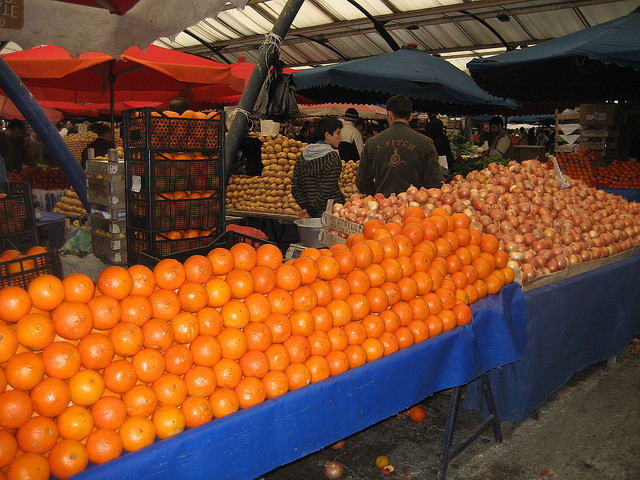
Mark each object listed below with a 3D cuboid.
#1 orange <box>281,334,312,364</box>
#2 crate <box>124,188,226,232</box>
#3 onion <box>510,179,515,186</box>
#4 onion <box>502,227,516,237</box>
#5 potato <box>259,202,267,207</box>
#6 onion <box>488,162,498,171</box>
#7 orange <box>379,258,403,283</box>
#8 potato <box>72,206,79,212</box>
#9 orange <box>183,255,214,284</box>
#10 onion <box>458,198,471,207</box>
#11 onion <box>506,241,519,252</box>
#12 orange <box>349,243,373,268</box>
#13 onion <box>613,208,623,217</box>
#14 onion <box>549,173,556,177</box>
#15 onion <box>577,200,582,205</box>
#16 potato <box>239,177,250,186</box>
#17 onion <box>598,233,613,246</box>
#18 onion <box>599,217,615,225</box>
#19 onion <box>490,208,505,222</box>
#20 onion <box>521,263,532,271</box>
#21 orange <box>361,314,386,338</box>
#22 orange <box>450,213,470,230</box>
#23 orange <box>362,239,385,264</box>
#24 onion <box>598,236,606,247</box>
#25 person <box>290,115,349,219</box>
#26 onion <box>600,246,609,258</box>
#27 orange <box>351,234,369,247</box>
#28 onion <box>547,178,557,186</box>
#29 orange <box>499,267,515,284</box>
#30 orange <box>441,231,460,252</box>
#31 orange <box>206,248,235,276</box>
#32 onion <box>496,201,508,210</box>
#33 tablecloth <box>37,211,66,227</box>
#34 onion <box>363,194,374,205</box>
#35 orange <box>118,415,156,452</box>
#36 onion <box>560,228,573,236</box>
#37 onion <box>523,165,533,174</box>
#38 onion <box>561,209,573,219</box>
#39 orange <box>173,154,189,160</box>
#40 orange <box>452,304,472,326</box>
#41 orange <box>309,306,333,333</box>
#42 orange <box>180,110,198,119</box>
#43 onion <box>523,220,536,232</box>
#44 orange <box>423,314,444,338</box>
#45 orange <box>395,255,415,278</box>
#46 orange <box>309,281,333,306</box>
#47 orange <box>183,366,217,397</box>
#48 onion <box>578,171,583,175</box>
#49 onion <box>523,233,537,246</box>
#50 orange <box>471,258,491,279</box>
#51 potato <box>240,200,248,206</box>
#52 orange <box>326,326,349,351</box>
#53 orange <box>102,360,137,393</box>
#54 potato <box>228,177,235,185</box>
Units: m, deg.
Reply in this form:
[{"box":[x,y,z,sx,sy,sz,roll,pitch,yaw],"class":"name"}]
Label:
[{"box":[-0.104,0.526,2.180,0.122,0.125,0.119,2,-2,-3],"class":"orange"},{"box":[-1.081,-0.263,3.318,0.648,0.335,0.257,-5,13,-41],"class":"crate"},{"box":[1.780,-0.528,4.173,0.033,0.040,0.021,20,-35,-41],"class":"onion"},{"box":[1.486,-0.066,3.544,0.074,0.063,0.069,7,7,19],"class":"onion"},{"box":[-0.948,-0.582,7.522,0.130,0.072,0.038,3,14,19],"class":"potato"},{"box":[1.693,-0.715,4.426,0.086,0.068,0.166,3,13,19],"class":"onion"},{"box":[0.411,0.175,2.597,0.119,0.146,0.123,0,3,1],"class":"orange"},{"box":[-4.058,-0.510,7.524,0.084,0.090,0.087,1,7,6],"class":"potato"},{"box":[-0.581,0.138,2.182,0.130,0.133,0.127,-2,0,-6],"class":"orange"},{"box":[1.207,-0.312,3.766,0.070,0.040,0.071,-3,12,-14],"class":"onion"},{"box":[1.462,0.049,3.451,0.073,0.076,0.086,-11,-16,27],"class":"onion"},{"box":[0.234,0.086,2.569,0.115,0.144,0.120,-3,-1,3],"class":"orange"},{"box":[3.030,-0.282,4.601,0.064,0.036,0.067,-1,37,14],"class":"onion"},{"box":[2.393,-0.672,4.657,0.083,0.028,0.031,-7,14,-26],"class":"onion"},{"box":[2.513,-0.361,4.384,0.012,0.037,0.036,38,18,-53],"class":"onion"},{"box":[-1.311,-1.000,7.852,0.129,0.072,0.128,-30,13,-16],"class":"potato"},{"box":[2.605,-0.015,4.138,0.109,0.115,0.113,2,35,28],"class":"onion"},{"box":[2.771,-0.186,4.365,0.081,0.054,0.096,0,6,10],"class":"onion"},{"box":[1.423,-0.199,3.622,0.098,0.115,0.095,-3,2,36],"class":"onion"},{"box":[1.553,0.205,3.398,0.084,0.043,0.064,-12,17,-39],"class":"onion"},{"box":[0.291,0.456,2.407,0.109,0.115,0.106,0,8,2],"class":"orange"},{"box":[1.006,-0.133,3.243,0.107,0.112,0.105,-1,6,2],"class":"orange"},{"box":[0.317,0.072,2.631,0.118,0.145,0.122,-1,4,5],"class":"orange"},{"box":[2.546,0.011,4.068,0.072,0.035,0.060,24,45,8],"class":"onion"},{"box":[-0.030,-0.895,5.643,0.642,1.268,1.101,-2,13,-3],"class":"person"},{"box":[2.545,0.109,4.036,0.046,0.096,0.096,-3,-16,24],"class":"onion"},{"box":[0.241,0.006,2.794,0.067,0.084,0.069,0,9,9],"class":"orange"},{"box":[2.315,-0.580,4.538,0.080,0.047,0.083,-7,10,11],"class":"onion"},{"box":[1.317,0.250,3.224,0.096,0.118,0.099,-1,-14,-34],"class":"orange"},{"box":[0.866,0.022,3.066,0.113,0.114,0.111,14,-26,-35],"class":"orange"},{"box":[-0.483,0.107,2.254,0.122,0.127,0.128,9,42,-2],"class":"orange"},{"box":[1.550,-0.295,3.849,0.075,0.044,0.063,1,10,-18],"class":"onion"},{"box":[-3.906,-0.315,6.625,0.341,0.100,0.775,-8,15,-29],"class":"tablecloth"},{"box":[0.410,-0.330,3.763,0.071,0.073,0.087,35,69,19],"class":"onion"},{"box":[-0.723,0.785,1.830,0.119,0.123,0.119,23,59,17],"class":"orange"},{"box":[2.105,-0.071,3.867,0.067,0.044,0.080,-5,5,9],"class":"onion"},{"box":[2.074,-0.702,4.536,0.082,0.104,0.085,-1,7,10],"class":"onion"},{"box":[2.229,-0.241,4.072,0.073,0.051,0.090,6,26,16],"class":"onion"},{"box":[-1.002,-0.591,3.255,0.059,0.034,0.061,3,5,19],"class":"orange"},{"box":[0.849,0.447,2.693,0.113,0.118,0.107,1,-3,5],"class":"orange"},{"box":[0.015,0.401,2.364,0.115,0.120,0.112,17,5,-1],"class":"orange"},{"box":[-1.022,-0.983,3.548,0.110,0.080,0.140,-2,7,-2],"class":"orange"},{"box":[1.713,-0.115,3.700,0.085,0.089,0.082,1,9,17],"class":"onion"},{"box":[0.653,0.496,2.587,0.111,0.132,0.110,9,-20,-26],"class":"orange"},{"box":[0.509,0.162,2.656,0.108,0.133,0.111,1,3,4],"class":"orange"},{"box":[0.010,0.280,2.374,0.118,0.124,0.115,-2,2,3],"class":"orange"},{"box":[-0.511,0.609,1.951,0.122,0.128,0.118,3,-8,-9],"class":"orange"},{"box":[4.654,-1.197,8.087,0.052,0.051,0.054,8,36,21],"class":"onion"},{"box":[1.680,-0.009,3.588,0.071,0.060,0.099,1,32,14],"class":"onion"},{"box":[1.077,0.180,2.997,0.118,0.148,0.124,10,31,6],"class":"orange"},{"box":[-1.302,-0.633,7.751,0.150,0.097,0.068,10,17,40],"class":"potato"},{"box":[0.093,0.505,2.358,0.102,0.106,0.103,17,-1,-4],"class":"orange"},{"box":[-0.803,0.548,1.849,0.123,0.127,0.127,1,-13,23],"class":"orange"},{"box":[-1.540,-1.034,7.977,0.116,0.141,0.121,-6,-18,4],"class":"potato"}]
